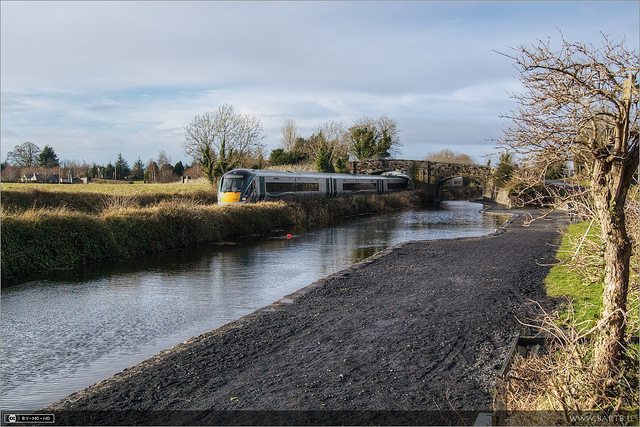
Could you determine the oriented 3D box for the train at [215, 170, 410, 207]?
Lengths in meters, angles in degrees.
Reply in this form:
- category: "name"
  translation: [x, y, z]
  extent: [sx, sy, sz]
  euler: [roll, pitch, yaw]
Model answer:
- category: "train"
  translation: [-1.579, -2.177, 40.022]
  extent: [19.345, 3.971, 4.005]
  euler: [-1, 1, -33]
